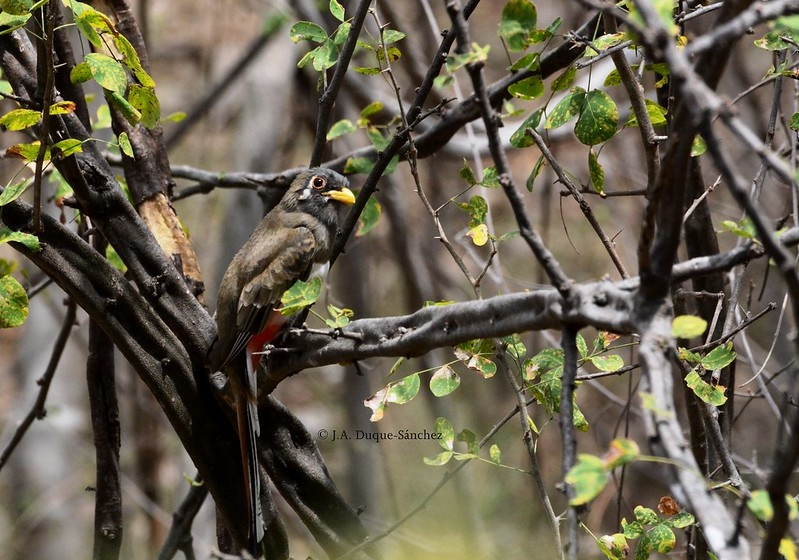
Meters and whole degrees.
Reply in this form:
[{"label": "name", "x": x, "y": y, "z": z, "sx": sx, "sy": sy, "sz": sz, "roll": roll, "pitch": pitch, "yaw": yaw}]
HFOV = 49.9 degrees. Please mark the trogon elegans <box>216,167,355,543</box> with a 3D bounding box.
[{"label": "trogon elegans", "x": -0.758, "y": 0.219, "z": 5.022, "sx": 0.631, "sy": 2.410, "sz": 1.108, "roll": 19, "pitch": -55, "yaw": -12}]
